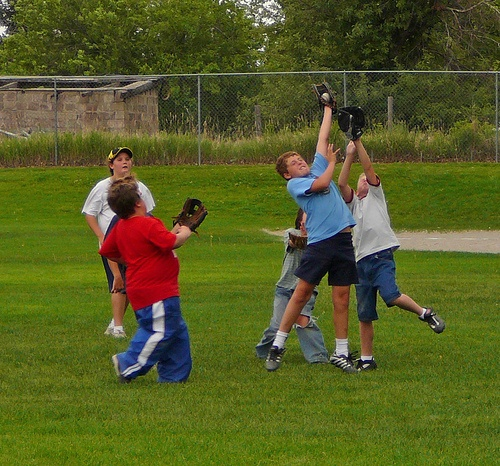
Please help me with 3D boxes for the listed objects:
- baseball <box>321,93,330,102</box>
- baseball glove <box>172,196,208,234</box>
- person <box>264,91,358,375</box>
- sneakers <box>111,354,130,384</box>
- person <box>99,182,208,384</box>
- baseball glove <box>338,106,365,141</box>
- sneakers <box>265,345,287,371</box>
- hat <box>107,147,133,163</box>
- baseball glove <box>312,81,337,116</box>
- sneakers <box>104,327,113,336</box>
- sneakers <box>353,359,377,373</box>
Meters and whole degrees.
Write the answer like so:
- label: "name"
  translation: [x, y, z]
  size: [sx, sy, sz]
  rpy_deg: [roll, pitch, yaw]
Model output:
- label: "baseball"
  translation: [0.933, -1.684, 14.650]
  size: [0.077, 0.077, 0.100]
  rpy_deg: [0, -7, 3]
- label: "baseball glove"
  translation: [-0.702, -0.175, 14.107]
  size: [0.340, 0.429, 0.189]
  rpy_deg: [30, -9, 17]
- label: "person"
  translation: [0.761, -0.094, 14.561]
  size: [1.085, 3.346, 1.195]
  rpy_deg: [0, 13, 4]
- label: "sneakers"
  translation: [-1.570, 1.581, 14.062]
  size: [0.197, 0.326, 0.096]
  rpy_deg: [-13, 1, -36]
- label: "person"
  translation: [-1.096, 0.658, 14.109]
  size: [1.140, 2.100, 0.657]
  rpy_deg: [-2, 13, -5]
- label: "baseball glove"
  translation: [1.230, -1.386, 14.760]
  size: [0.300, 0.394, 0.421]
  rpy_deg: [-6, 4, -13]
- label: "sneakers"
  translation: [0.317, 1.497, 14.509]
  size: [0.143, 0.366, 0.156]
  rpy_deg: [11, -21, 20]
- label: "hat"
  translation: [-1.722, -1.056, 15.750]
  size: [0.297, 0.188, 0.280]
  rpy_deg: [-1, 13, -3]
- label: "baseball glove"
  translation: [0.918, -1.699, 14.739]
  size: [0.233, 0.408, 0.099]
  rpy_deg: [-22, -7, -16]
- label: "sneakers"
  translation: [-1.886, 1.280, 15.779]
  size: [0.096, 0.125, 0.275]
  rpy_deg: [1, -4, -11]
- label: "sneakers"
  translation: [1.404, 1.581, 14.451]
  size: [0.303, 0.137, 0.102]
  rpy_deg: [0, 7, -3]
